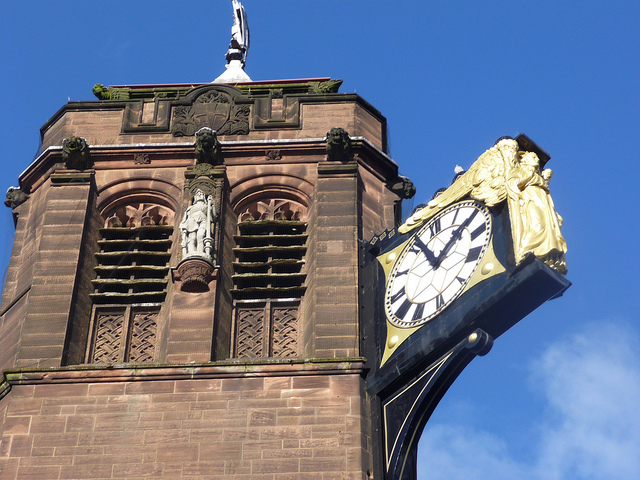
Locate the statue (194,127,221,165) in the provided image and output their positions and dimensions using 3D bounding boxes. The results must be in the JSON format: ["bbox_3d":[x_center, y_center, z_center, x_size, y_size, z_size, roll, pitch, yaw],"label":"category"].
[{"bbox_3d":[-3.048,-2.728,39.067,0.776,1.041,0.566,-3,-26,2],"label":"statue"}]

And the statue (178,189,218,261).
[{"bbox_3d":[-3.117,-0.445,37.140,0.908,2.374,0.586,-8,-37,9],"label":"statue"}]

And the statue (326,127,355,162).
[{"bbox_3d":[0.556,-2.750,39.027,0.745,0.785,0.731,1,-44,0],"label":"statue"}]

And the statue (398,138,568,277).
[{"bbox_3d":[3.747,-0.486,32.880,3.479,5.036,1.319,-22,-57,14],"label":"statue"}]
